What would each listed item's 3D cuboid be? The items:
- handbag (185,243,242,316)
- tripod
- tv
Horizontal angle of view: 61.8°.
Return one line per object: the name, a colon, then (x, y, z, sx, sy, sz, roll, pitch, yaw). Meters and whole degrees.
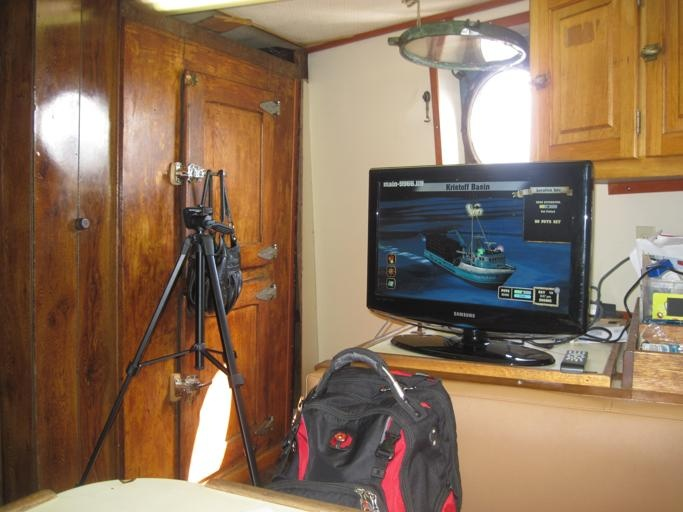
handbag: (-0.622, 0.079, 2.752, 0.242, 0.450, 0.338, 0, 0, 3)
tripod: (-0.693, 0.404, 2.440, 0.646, 1.032, 0.519, -1, 7, -10)
tv: (0.498, 0.019, 1.996, 0.695, 0.584, 0.170, 4, 8, 21)
